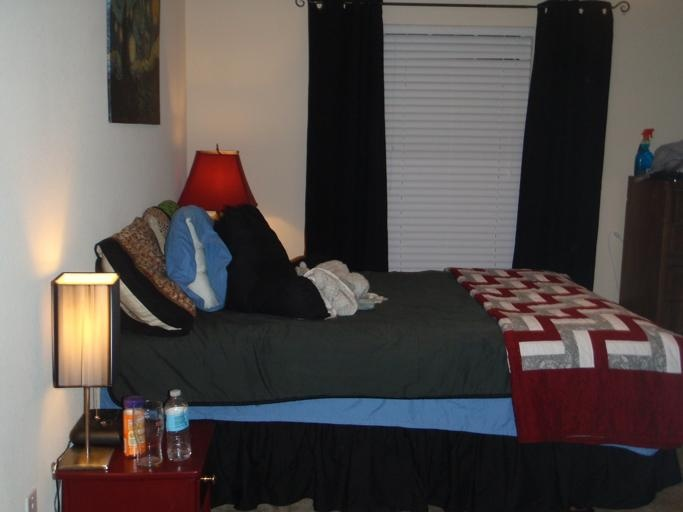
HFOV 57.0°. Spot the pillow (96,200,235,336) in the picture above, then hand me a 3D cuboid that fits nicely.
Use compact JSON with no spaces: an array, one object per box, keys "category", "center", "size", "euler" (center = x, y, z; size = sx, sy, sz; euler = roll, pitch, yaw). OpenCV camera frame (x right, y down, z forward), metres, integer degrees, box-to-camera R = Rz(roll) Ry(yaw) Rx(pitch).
[{"category":"pillow","center":[-0.871,0.049,3.110],"size":[0.529,0.545,0.702],"euler":[0,10,-5]}]

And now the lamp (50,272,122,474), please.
[{"category":"lamp","center":[-1.001,0.452,2.497],"size":[0.254,0.755,0.239],"euler":[-1,10,-11]}]

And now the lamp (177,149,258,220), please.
[{"category":"lamp","center":[-0.811,-0.463,4.146],"size":[0.469,0.349,0.455],"euler":[-2,5,-34]}]

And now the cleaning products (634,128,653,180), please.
[{"category":"cleaning products","center":[2.273,-0.774,4.731],"size":[0.124,0.362,0.441],"euler":[5,11,24]}]
